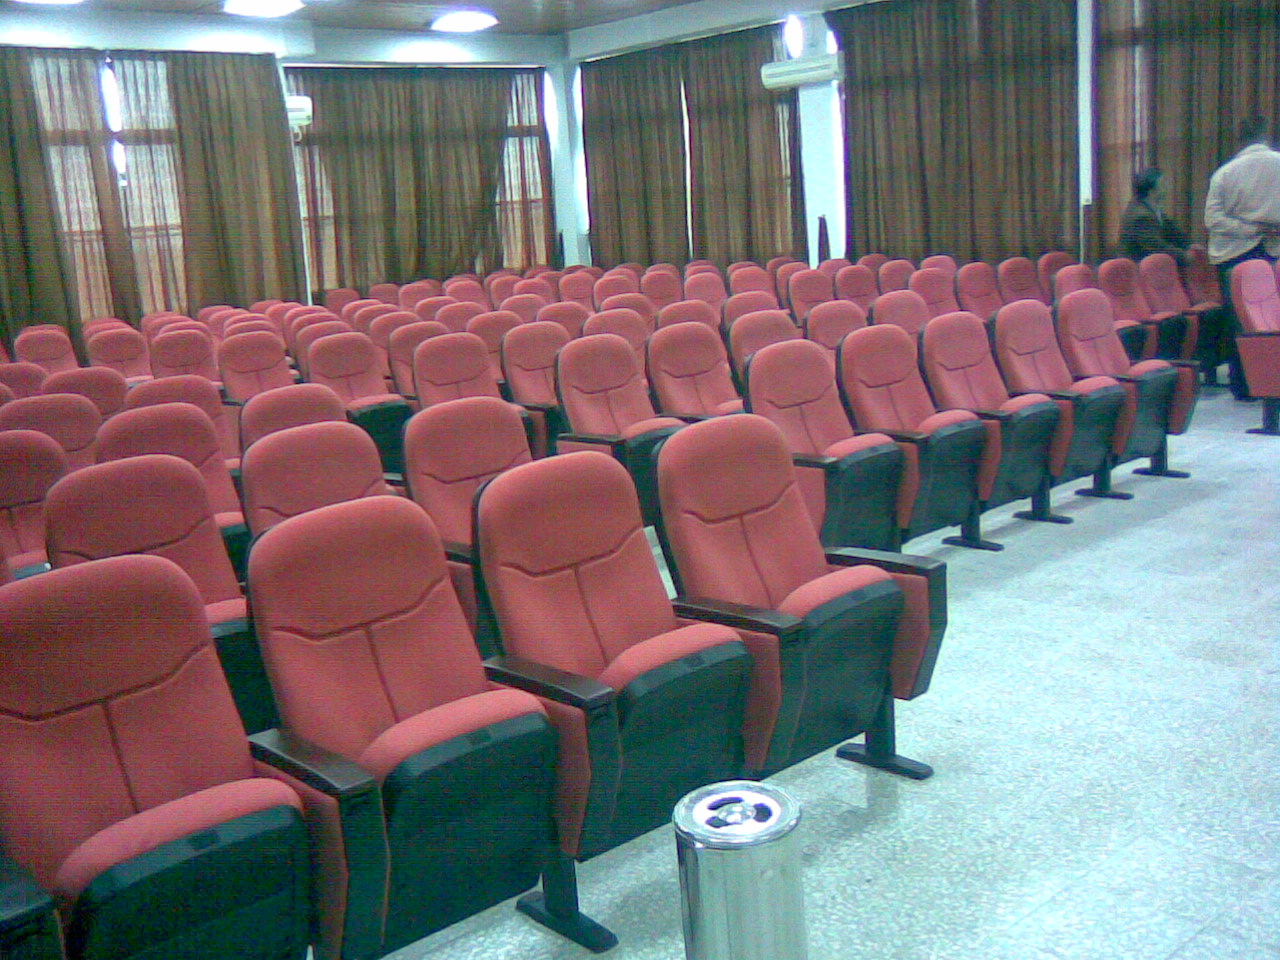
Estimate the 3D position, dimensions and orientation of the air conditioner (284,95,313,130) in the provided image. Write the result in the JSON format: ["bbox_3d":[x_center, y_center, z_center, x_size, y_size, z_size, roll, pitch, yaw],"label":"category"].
[{"bbox_3d":[-3.951,-4.296,11.416,0.269,0.403,0.639,-11,15,-11],"label":"air conditioner"}]

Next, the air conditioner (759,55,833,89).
[{"bbox_3d":[1.666,-4.287,10.336,0.901,0.275,0.231,7,21,43],"label":"air conditioner"}]
